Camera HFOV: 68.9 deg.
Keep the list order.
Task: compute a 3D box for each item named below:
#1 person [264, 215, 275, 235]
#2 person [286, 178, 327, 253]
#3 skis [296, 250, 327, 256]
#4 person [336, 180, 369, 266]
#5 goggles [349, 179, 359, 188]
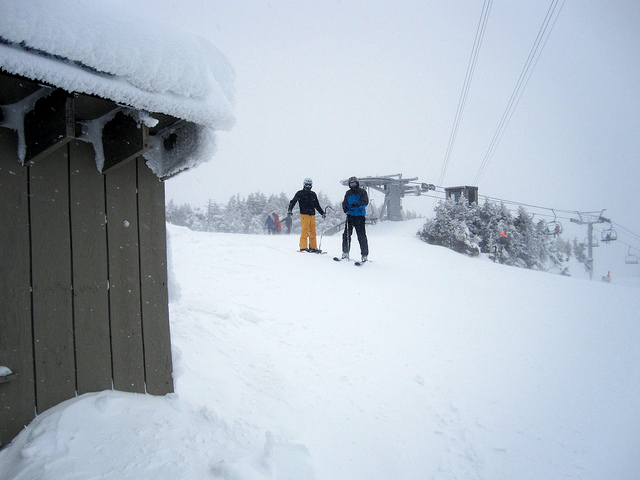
[{"bbox_3d":[-2.510,-0.806,23.156,0.389,0.963,1.965,4,7,-6],"label":"person"},{"bbox_3d":[-0.296,-0.530,9.828,0.794,1.565,1.355,4,6,-3],"label":"person"},{"bbox_3d":[-0.109,0.247,9.792,0.497,0.126,0.177,8,-3,-6],"label":"skis"},{"bbox_3d":[0.680,-0.417,9.515,0.511,1.650,0.801,1,7,-29],"label":"person"},{"bbox_3d":[0.677,-1.159,9.517,0.165,0.140,0.225,5,7,1],"label":"goggles"}]
